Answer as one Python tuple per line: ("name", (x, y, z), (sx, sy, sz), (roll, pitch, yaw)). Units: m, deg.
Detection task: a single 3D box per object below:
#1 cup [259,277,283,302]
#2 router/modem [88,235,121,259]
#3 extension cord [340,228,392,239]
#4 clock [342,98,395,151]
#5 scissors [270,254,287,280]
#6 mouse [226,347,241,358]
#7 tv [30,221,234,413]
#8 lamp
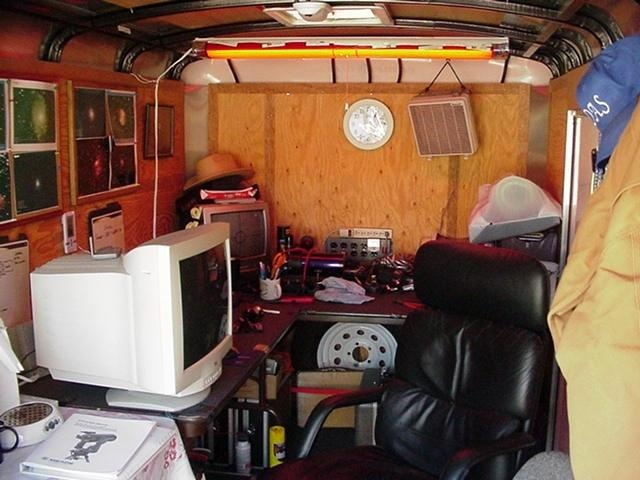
("cup", (-0.322, 0.315, 3.179), (0.113, 0.107, 0.161), (-3, 9, -27))
("router/modem", (-1.070, 0.027, 2.367), (0.117, 0.062, 0.109), (0, 14, -5))
("extension cord", (0.358, -0.059, 3.857), (0.415, 0.082, 0.025), (1, 6, 2))
("clock", (0.388, -0.924, 3.749), (0.453, 0.396, 0.044), (2, 6, 3))
("scissors", (-0.285, 0.174, 3.230), (0.033, 0.215, 0.065), (1, 30, -47))
("mouse", (-0.424, 0.546, 2.341), (0.046, 0.015, 0.048), (6, 4, 44))
("tv", (-0.733, 0.279, 2.093), (0.789, 0.621, 0.678), (2, 7, 1))
("lamp", (0.157, -1.195, 2.962), (1.911, 0.131, 0.259), (1, 5, 4))
